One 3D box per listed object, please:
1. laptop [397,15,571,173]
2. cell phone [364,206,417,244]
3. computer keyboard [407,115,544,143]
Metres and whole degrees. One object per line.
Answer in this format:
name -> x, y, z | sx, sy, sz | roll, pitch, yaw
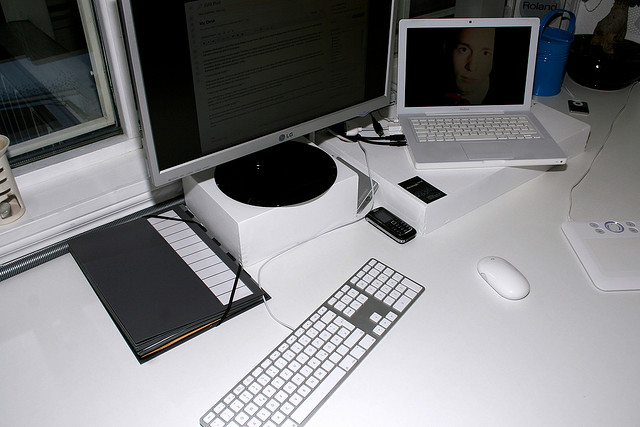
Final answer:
laptop -> 0.499, -0.378, 1.307 | 0.502, 0.316, 0.373 | -7, 43, -7
cell phone -> 0.206, 0.032, 1.246 | 0.074, 0.033, 0.144 | -32, 53, -28
computer keyboard -> 0.520, -0.261, 1.404 | 0.425, 0.028, 0.173 | 1, 52, 8
